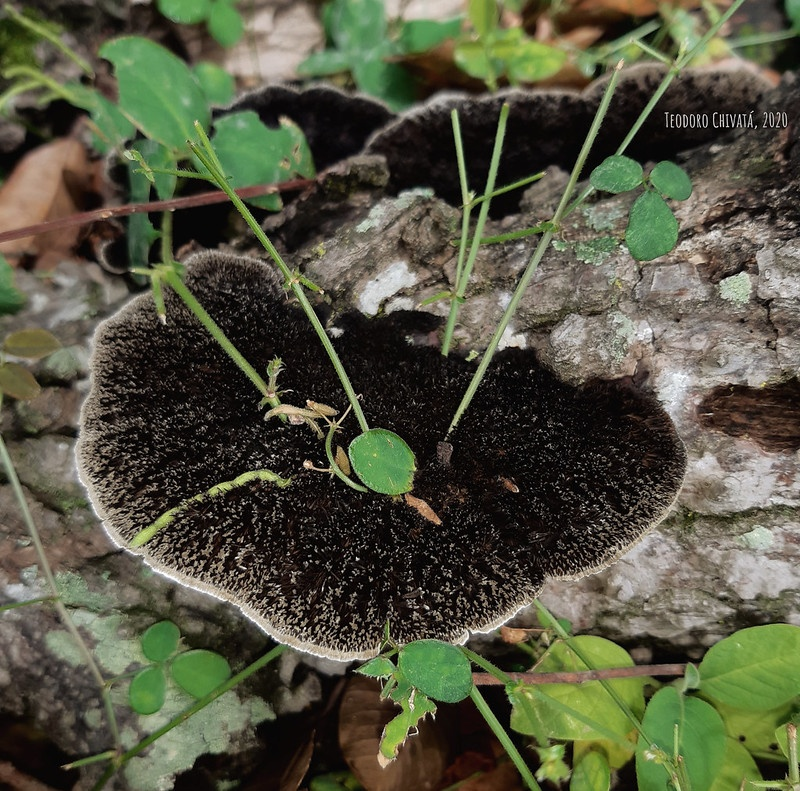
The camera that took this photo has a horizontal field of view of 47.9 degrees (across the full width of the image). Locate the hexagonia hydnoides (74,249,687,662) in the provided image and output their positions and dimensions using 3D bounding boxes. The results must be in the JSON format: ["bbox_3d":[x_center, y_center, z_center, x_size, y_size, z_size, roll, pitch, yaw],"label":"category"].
[{"bbox_3d":[-0.100,0.308,3.051,2.269,0.331,1.292,24,70,4],"label":"hexagonia hydnoides"}]
